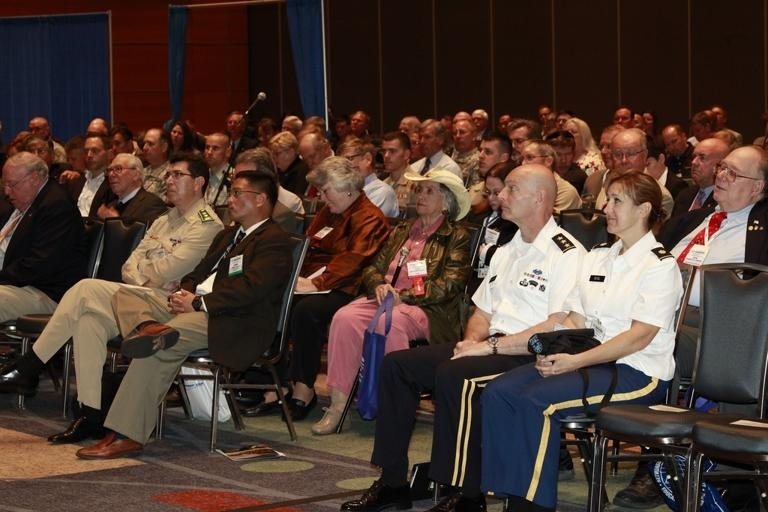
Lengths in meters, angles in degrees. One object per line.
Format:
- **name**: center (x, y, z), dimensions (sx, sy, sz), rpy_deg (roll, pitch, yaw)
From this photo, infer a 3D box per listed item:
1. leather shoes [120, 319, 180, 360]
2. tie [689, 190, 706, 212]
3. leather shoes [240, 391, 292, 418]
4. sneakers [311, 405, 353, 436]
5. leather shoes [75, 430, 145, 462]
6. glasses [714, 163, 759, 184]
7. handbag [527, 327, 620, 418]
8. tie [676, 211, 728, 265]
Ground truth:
- **leather shoes**: center (-1.448, 0.508, 4.159), dimensions (0.377, 0.171, 0.186), rpy_deg (-7, 12, -15)
- **tie**: center (2.330, -0.406, 4.923), dimensions (0.053, 0.274, 0.034), rpy_deg (14, -36, 37)
- **leather shoes**: center (-0.842, 1.135, 5.210), dimensions (0.545, 0.198, 0.171), rpy_deg (1, -3, -32)
- **sneakers**: center (-0.371, 1.177, 4.734), dimensions (0.132, 0.134, 0.339), rpy_deg (-8, -10, 42)
- **leather shoes**: center (-1.737, 1.194, 4.215), dimensions (0.366, 0.142, 0.181), rpy_deg (5, -8, -16)
- **glasses**: center (2.161, -0.496, 4.086), dimensions (0.159, 0.043, 0.145), rpy_deg (14, -3, -26)
- **handbag**: center (0.883, 0.509, 3.029), dimensions (0.367, 0.441, 0.177), rpy_deg (2, -13, -10)
- **tie**: center (2.026, -0.111, 4.202), dimensions (0.115, 0.426, 0.069), rpy_deg (43, -19, 18)
